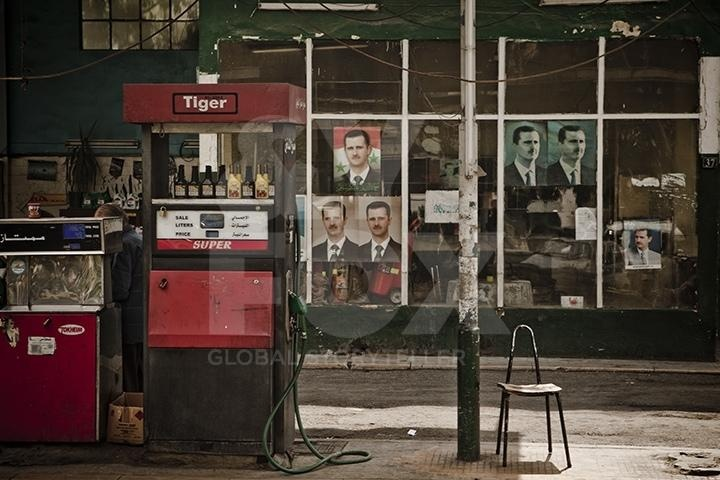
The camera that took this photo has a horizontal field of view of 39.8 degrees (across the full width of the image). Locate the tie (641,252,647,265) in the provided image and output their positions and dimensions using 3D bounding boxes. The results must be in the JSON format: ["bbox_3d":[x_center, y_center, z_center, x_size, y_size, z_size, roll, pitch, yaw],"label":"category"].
[{"bbox_3d":[5.359,0.356,18.786,0.125,0.215,0.069,3,14,7],"label":"tie"}]

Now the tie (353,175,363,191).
[{"bbox_3d":[-0.050,-1.088,18.972,0.235,0.243,0.058,5,10,3],"label":"tie"}]

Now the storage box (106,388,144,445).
[{"bbox_3d":[-3.434,2.616,14.811,0.675,0.438,0.689,2,8,9],"label":"storage box"}]

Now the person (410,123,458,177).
[{"bbox_3d":[1.379,-1.715,18.873,0.913,1.021,0.266,2,14,2],"label":"person"}]

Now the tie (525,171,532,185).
[{"bbox_3d":[3.181,-1.164,18.857,0.246,0.276,0.064,0,4,8],"label":"tie"}]

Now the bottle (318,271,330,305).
[{"bbox_3d":[-0.708,0.928,18.984,0.196,0.501,0.369,2,5,-14],"label":"bottle"}]
